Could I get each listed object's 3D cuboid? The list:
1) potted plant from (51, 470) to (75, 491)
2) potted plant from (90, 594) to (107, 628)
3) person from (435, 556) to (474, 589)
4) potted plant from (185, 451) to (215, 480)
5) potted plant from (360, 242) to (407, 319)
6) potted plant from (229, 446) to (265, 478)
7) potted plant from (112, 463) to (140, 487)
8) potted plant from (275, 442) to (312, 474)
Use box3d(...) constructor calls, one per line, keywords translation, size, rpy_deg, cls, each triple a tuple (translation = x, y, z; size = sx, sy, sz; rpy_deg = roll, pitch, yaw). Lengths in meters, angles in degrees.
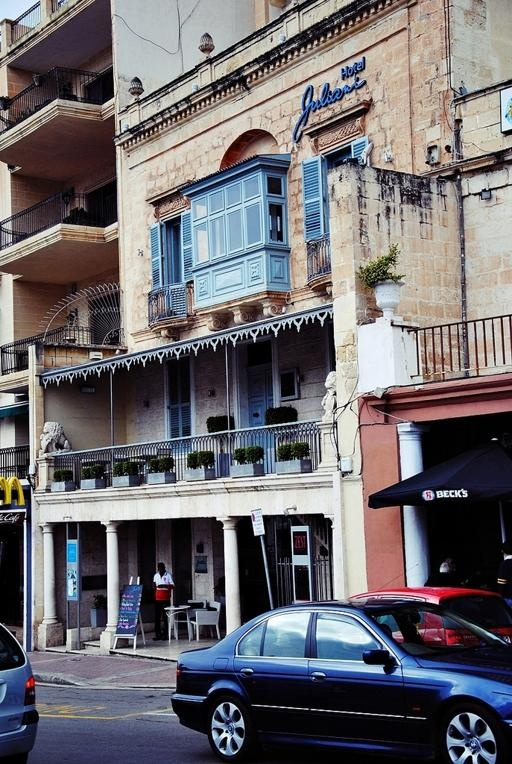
box3d(translation=(-4.317, 2.329, 27.617), size=(0.556, 0.631, 0.475), rpy_deg=(-2, -3, 26), cls="potted plant")
box3d(translation=(-3.537, 5.222, 27.487), size=(0.369, 0.741, 0.800), rpy_deg=(-2, -10, -9), cls="potted plant")
box3d(translation=(2.929, 2.791, 17.699), size=(0.436, 0.442, 2.760), rpy_deg=(-5, -10, 10), cls="person")
box3d(translation=(-0.991, 1.624, 22.905), size=(0.330, 0.571, 0.812), rpy_deg=(1, -11, -26), cls="potted plant")
box3d(translation=(1.926, -1.440, 17.788), size=(0.607, 1.045, 0.761), rpy_deg=(-4, -4, 20), cls="potted plant")
box3d(translation=(-0.118, 1.500, 21.676), size=(0.478, 0.788, 0.773), rpy_deg=(3, -6, -35), cls="potted plant")
box3d(translation=(-2.660, 1.967, 25.298), size=(0.361, 0.570, 0.940), rpy_deg=(1, -11, -26), cls="potted plant")
box3d(translation=(0.634, 1.313, 20.409), size=(0.444, 0.737, 0.738), rpy_deg=(1, -4, -34), cls="potted plant")
